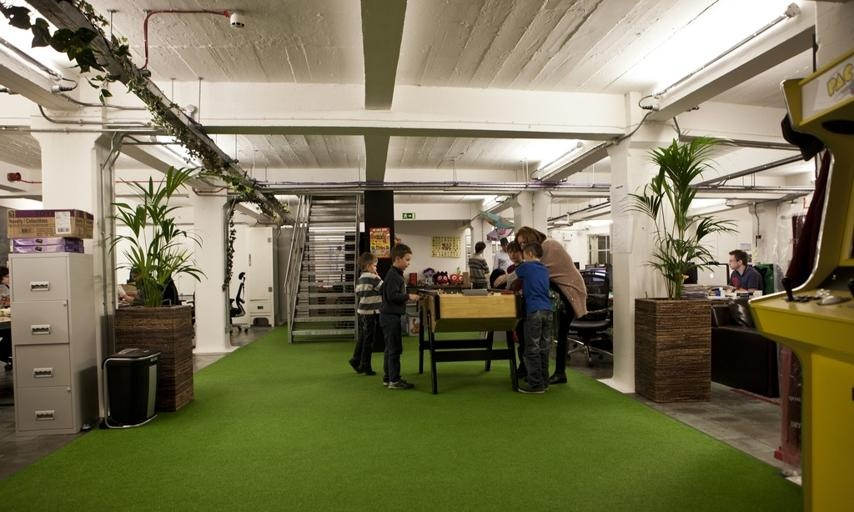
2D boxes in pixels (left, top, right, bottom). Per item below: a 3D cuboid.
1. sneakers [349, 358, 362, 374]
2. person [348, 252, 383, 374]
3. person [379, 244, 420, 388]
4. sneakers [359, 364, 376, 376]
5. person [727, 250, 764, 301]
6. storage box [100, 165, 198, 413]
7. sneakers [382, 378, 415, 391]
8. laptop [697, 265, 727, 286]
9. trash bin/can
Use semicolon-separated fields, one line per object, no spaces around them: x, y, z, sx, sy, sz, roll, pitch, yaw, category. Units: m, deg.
-1.142;1.810;8.859;0.250;0.198;0.209;-3;-2;7;sneakers
-1.015;0.970;8.777;0.562;2.045;0.705;-3;12;-8;person
-0.438;0.904;8.136;0.544;2.168;1.046;-2;12;-4;person
-0.965;1.871;8.732;0.213;0.143;0.132;-3;1;10;sneakers
5.415;0.305;9.192;0.593;0.800;0.725;-7;4;-7;person
-3.818;0.552;7.569;1.230;2.516;1.171;-6;5;2;storage box
-0.426;1.895;7.945;0.461;0.191;0.163;1;-3;-5;sneakers
7.200;0.483;13.497;0.568;0.359;0.406;0;4;44;laptop
-3.804;1.677;6.883;0.564;0.882;0.493;-1;12;2;trash bin/can
